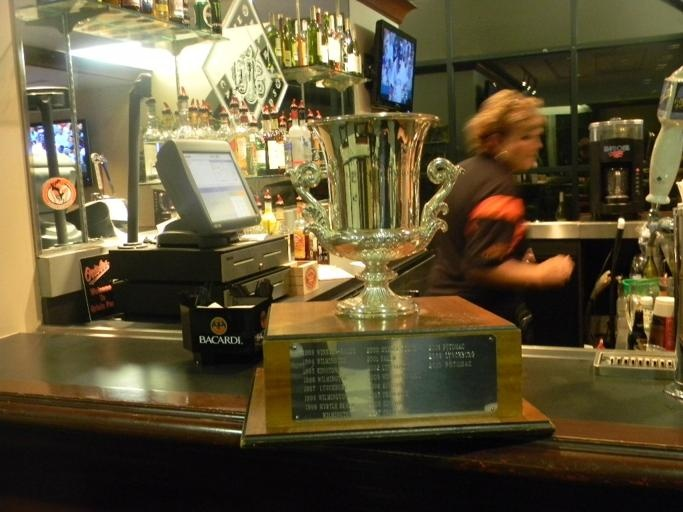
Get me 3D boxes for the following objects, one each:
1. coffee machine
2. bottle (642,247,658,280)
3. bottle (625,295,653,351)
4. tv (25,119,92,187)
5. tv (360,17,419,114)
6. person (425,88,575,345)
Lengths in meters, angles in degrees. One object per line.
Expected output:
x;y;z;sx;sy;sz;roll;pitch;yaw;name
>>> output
2.036;-0.650;4.258;0.373;0.699;0.191;3;15;21;coffee machine
1.091;0.021;2.018;0.052;0.120;0.161;5;16;27;bottle
0.882;0.215;1.696;0.058;0.158;0.204;5;16;27;bottle
-1.030;-0.371;2.061;0.027;0.267;0.270;0;4;24;tv
0.448;-1.633;5.028;0.240;0.720;0.981;1;15;14;tv
0.711;-0.132;2.561;0.608;1.171;0.578;3;15;21;person
